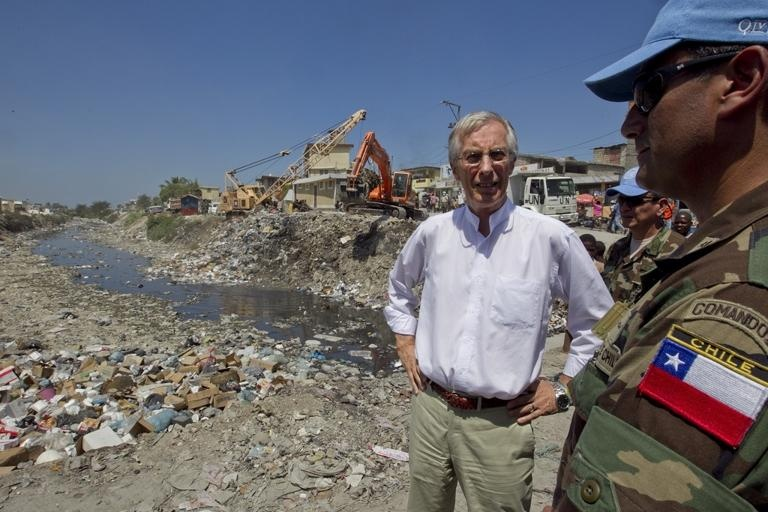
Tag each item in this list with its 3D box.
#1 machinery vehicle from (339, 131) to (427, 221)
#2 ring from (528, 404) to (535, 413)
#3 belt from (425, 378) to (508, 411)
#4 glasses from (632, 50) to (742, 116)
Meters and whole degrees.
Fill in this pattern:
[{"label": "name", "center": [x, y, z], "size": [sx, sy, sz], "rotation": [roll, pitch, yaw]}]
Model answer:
[{"label": "machinery vehicle", "center": [-0.093, -3.270, 17.073], "size": [3.370, 2.972, 4.488], "rotation": [7, 5, 22]}, {"label": "ring", "center": [0.761, 0.772, 1.990], "size": [0.035, 0.031, 0.010], "rotation": [19, 18, 25]}, {"label": "belt", "center": [0.435, 0.721, 2.065], "size": [0.235, 0.105, 0.166], "rotation": [0, -2, 2]}, {"label": "glasses", "center": [0.869, -0.518, 1.150], "size": [0.095, 0.108, 0.133], "rotation": [12, -2, 2]}]
